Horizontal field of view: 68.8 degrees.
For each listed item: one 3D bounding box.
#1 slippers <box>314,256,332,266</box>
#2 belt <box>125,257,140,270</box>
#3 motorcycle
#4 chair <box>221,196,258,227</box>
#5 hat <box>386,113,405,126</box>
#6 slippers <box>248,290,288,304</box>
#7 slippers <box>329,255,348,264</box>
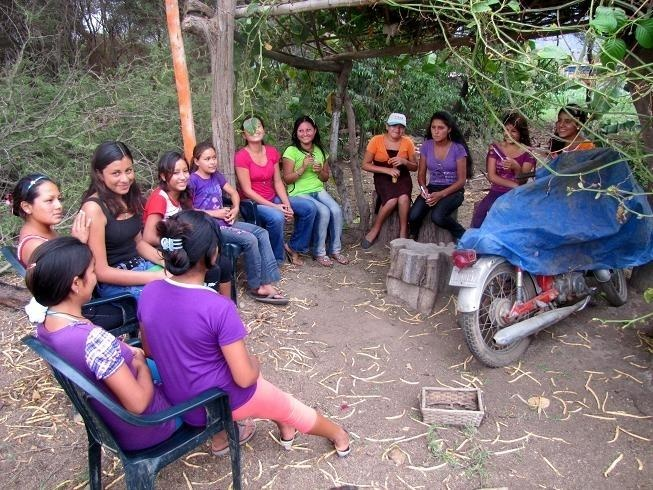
[{"bbox_3d":[-0.016,0.166,5.577,0.095,0.072,0.170,-16,20,-42],"label":"slippers"},{"bbox_3d":[-1.528,0.134,3.770,0.063,0.026,0.108,-11,6,7],"label":"belt"},{"bbox_3d":[1.749,0.232,3.940,1.630,1.435,0.458,-5,18,-20],"label":"motorcycle"},{"bbox_3d":[-0.905,-0.371,5.117,0.361,0.289,0.280,-1,19,-18],"label":"chair"},{"bbox_3d":[0.854,-1.521,5.768,0.204,0.153,0.308,5,18,12],"label":"hat"},{"bbox_3d":[-0.577,0.497,4.787,0.359,0.105,0.138,2,5,17],"label":"slippers"},{"bbox_3d":[0.159,0.135,5.670,0.095,0.060,0.178,-18,24,-41],"label":"slippers"}]
